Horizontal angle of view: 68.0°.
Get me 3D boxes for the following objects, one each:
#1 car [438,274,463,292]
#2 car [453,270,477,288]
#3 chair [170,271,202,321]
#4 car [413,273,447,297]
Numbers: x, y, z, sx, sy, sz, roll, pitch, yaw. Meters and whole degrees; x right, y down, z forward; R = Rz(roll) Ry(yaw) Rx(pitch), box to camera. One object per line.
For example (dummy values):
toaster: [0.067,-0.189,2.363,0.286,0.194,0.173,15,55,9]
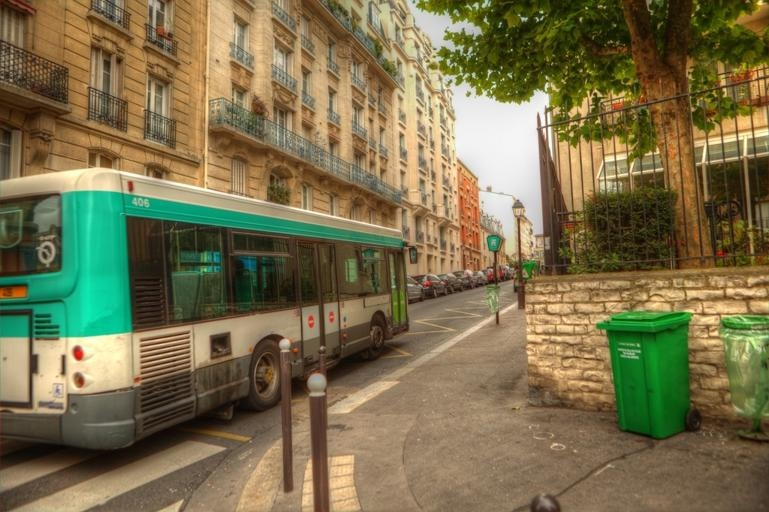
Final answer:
car: [4.409,1.884,39.307,0.828,0.737,2.065,1,6,25]
car: [6.031,1.842,43.673,0.981,0.841,2.411,-1,8,25]
chair: [-3.422,0.694,9.551,0.437,0.747,0.402,3,-5,-34]
car: [2.816,1.880,34.760,0.957,0.794,2.351,-2,1,25]
